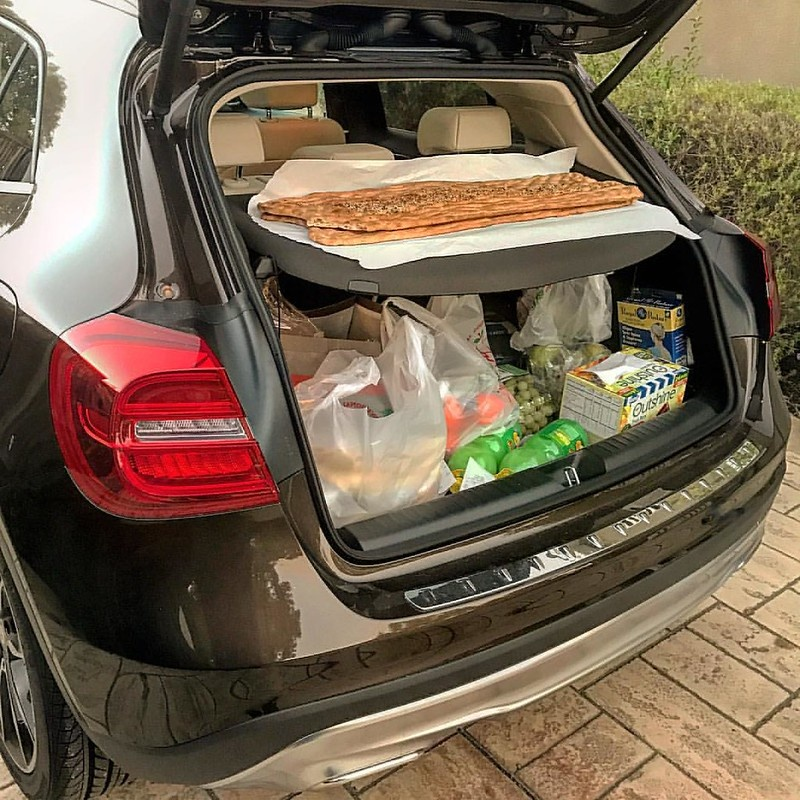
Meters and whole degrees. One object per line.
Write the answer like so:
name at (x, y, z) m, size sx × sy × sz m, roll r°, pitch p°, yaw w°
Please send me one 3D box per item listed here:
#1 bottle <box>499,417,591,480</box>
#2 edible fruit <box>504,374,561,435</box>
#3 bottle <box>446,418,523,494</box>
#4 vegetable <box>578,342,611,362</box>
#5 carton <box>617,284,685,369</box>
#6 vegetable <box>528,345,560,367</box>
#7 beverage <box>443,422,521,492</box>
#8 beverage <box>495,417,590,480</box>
bottle at (0.339, 0.101, 1.643) m, size 0.247 × 0.088 × 0.105 m, roll -24°, pitch 30°, yaw -31°
edible fruit at (0.345, 0.002, 1.922) m, size 0.141 × 0.055 × 0.162 m, roll -21°, pitch 58°, yaw -19°
bottle at (0.214, 0.120, 1.649) m, size 0.083 × 0.074 × 0.256 m, roll 14°, pitch 23°, yaw 27°
vegetable at (0.539, -0.129, 1.944) m, size 0.075 × 0.018 × 0.061 m, roll -5°, pitch 43°, yaw 0°
carton at (0.653, -0.188, 1.807) m, size 0.076 × 0.193 × 0.207 m, roll -25°, pitch 33°, yaw -25°
vegetable at (0.402, -0.126, 1.944) m, size 0.067 × 0.025 × 0.070 m, roll -1°, pitch 54°, yaw 28°
beverage at (0.210, 0.129, 1.654) m, size 0.075 × 0.080 × 0.256 m, roll 47°, pitch 32°, yaw 12°
beverage at (0.345, 0.132, 1.663) m, size 0.248 × 0.088 × 0.105 m, roll -24°, pitch 32°, yaw -29°
